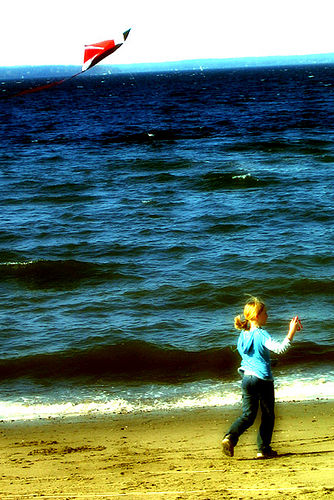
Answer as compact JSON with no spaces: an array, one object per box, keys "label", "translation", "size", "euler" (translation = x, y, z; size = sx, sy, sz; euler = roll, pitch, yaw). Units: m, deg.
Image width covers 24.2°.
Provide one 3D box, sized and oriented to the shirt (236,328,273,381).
[{"label":"shirt","translation":[0.868,1.035,7.717],"size":[0.211,0.489,0.510],"euler":[-5,-2,-38]}]
